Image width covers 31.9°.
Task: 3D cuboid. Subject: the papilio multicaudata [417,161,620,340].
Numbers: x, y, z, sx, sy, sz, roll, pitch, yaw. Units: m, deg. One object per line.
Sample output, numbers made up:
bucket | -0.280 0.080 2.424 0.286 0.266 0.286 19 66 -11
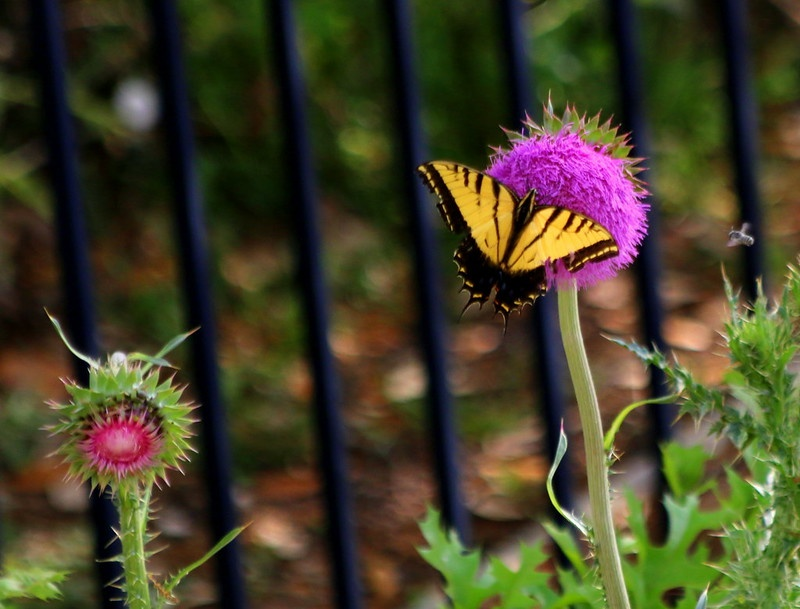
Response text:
papilio multicaudata | 0.275 -0.088 3.314 0.289 0.563 0.368 3 -73 -56
